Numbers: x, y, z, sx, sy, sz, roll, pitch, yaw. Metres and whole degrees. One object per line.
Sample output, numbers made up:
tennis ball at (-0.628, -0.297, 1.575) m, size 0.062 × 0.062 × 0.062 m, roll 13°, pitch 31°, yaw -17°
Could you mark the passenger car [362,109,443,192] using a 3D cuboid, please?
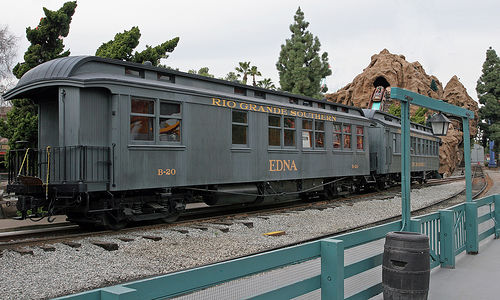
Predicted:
passenger car at (10.590, 0.085, 25.120) m, size 2.690 × 4.681 × 12.637 m, roll 1°, pitch -1°, yaw 43°
